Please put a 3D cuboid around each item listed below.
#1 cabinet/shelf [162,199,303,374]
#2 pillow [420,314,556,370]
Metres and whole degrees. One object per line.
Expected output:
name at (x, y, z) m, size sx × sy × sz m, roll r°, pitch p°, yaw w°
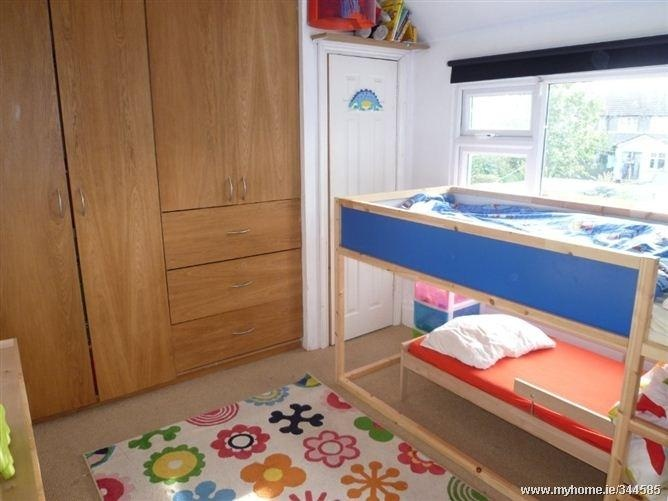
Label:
cabinet/shelf at (-0.733, 0.226, 3.255) m, size 1.068 × 1.197 × 0.477 m, roll -9°, pitch 16°, yaw -30°
pillow at (0.910, 0.489, 2.720) m, size 0.459 × 0.120 × 0.359 m, roll -8°, pitch 11°, yaw -39°
